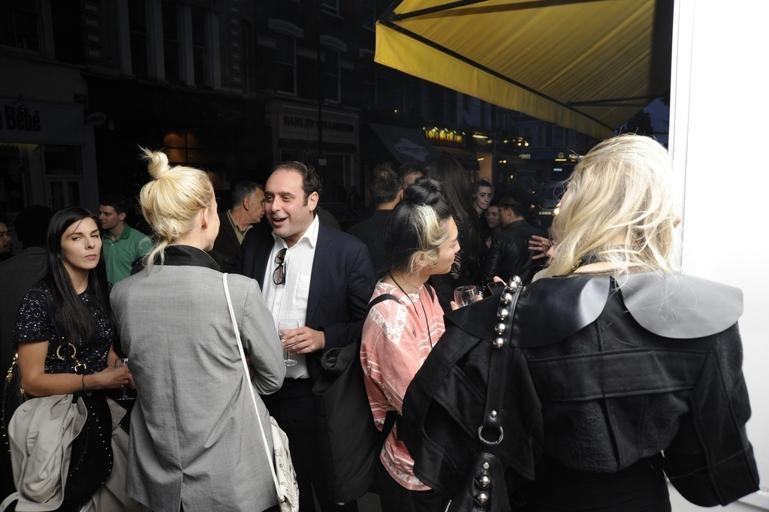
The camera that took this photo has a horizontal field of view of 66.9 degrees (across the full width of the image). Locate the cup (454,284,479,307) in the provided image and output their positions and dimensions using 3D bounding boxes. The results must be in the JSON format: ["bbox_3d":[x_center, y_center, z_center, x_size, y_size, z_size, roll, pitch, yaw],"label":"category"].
[{"bbox_3d":[0.416,0.197,2.875,0.112,0.112,0.100,0,-4,-19],"label":"cup"}]
